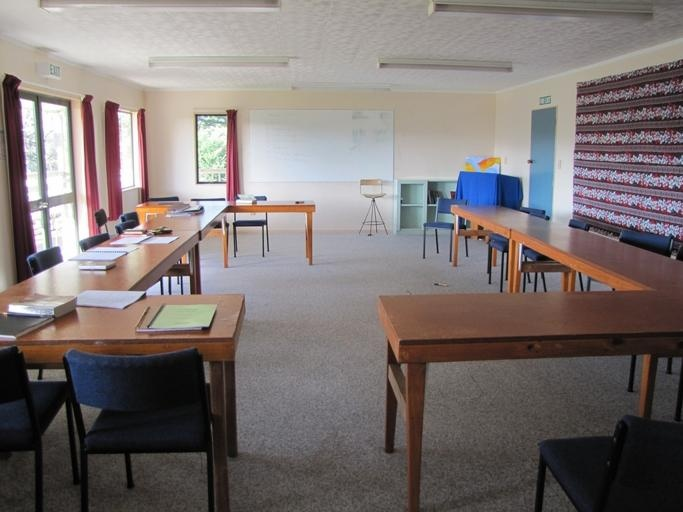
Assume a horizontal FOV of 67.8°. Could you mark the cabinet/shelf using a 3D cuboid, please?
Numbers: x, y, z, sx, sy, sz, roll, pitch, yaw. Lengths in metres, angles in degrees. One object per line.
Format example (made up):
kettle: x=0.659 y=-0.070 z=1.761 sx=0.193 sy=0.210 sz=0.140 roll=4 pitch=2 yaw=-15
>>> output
cabinet/shelf: x=1.551 y=-0.893 z=9.583 sx=1.430 sy=1.185 sz=0.428 roll=-1 pitch=6 yaw=-3

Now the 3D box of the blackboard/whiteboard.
blackboard/whiteboard: x=-0.467 y=-2.181 z=10.199 sx=3.247 sy=1.412 sz=0.063 roll=5 pitch=12 yaw=23
